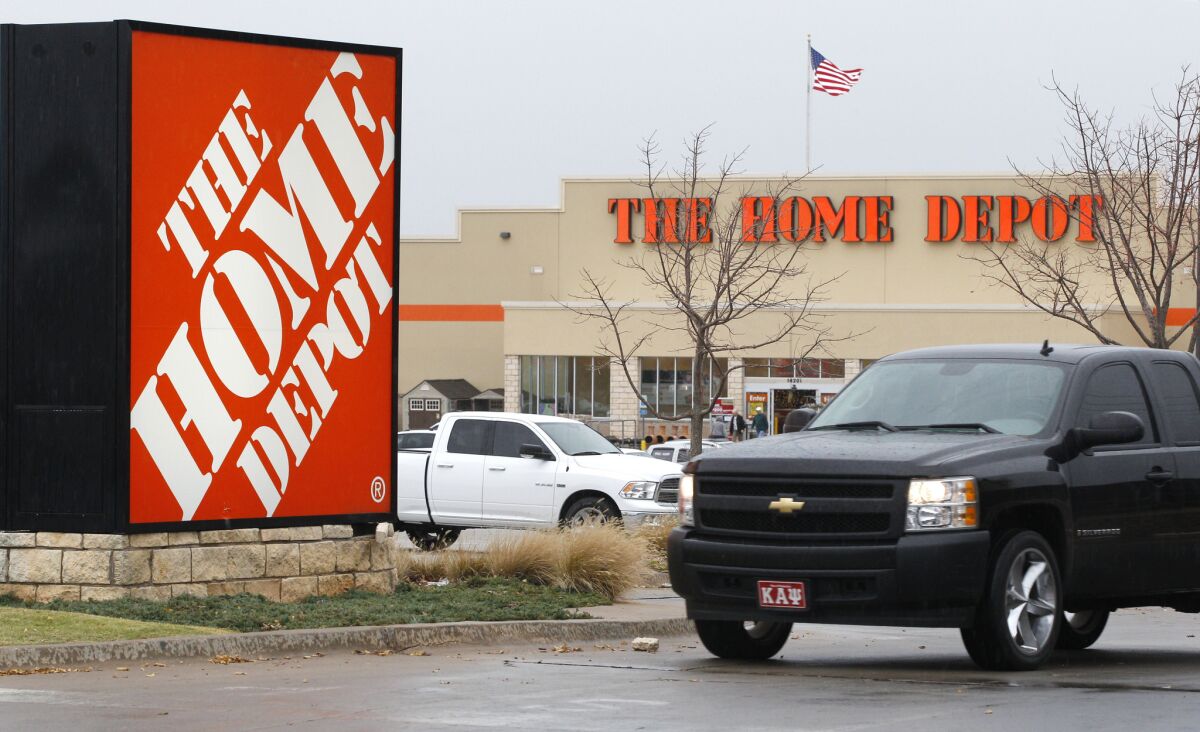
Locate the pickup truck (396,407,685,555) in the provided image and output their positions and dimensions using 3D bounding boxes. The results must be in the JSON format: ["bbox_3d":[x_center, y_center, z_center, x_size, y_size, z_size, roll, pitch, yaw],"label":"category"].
[{"bbox_3d":[-1.023,1.686,29.133,4.427,1.452,2.000,-3,-3,24],"label":"pickup truck"}]
